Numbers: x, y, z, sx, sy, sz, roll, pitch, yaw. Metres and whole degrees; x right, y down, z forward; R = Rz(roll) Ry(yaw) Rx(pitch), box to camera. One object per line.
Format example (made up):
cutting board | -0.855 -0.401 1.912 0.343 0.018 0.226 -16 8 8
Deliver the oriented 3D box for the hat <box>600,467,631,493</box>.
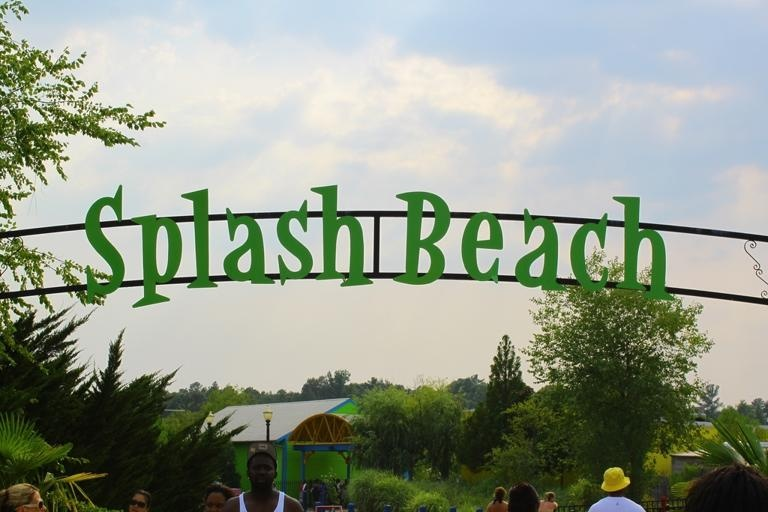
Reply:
hat | 7.542 7.354 53.400 0.889 0.617 1.083 -6 20 13
